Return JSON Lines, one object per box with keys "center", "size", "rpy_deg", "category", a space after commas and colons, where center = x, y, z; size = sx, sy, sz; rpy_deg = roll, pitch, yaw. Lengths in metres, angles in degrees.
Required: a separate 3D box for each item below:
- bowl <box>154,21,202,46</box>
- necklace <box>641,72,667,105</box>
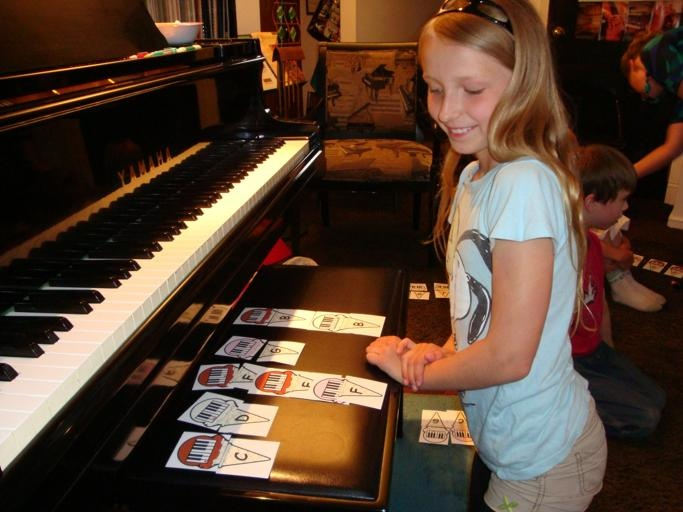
{"center": [-0.619, -0.855, 1.962], "size": [0.198, 0.078, 0.191], "rpy_deg": [0, 24, 0], "category": "bowl"}
{"center": [2.032, -1.094, 3.355], "size": [0.119, 0.126, 0.144], "rpy_deg": [8, 59, 14], "category": "necklace"}
